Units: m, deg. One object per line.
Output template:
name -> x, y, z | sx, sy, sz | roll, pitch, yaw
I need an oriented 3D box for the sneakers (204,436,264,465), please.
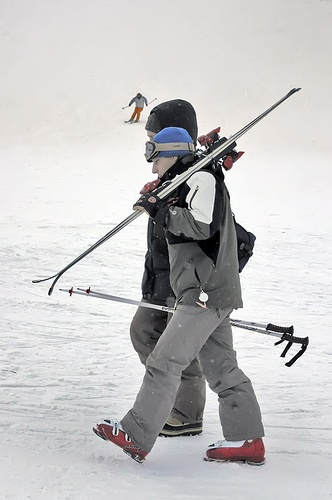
sneakers -> 0.282, 0.798, 2.354 | 0.248, 0.104, 0.091 | 2, -12, 11

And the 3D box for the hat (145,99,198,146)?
hat -> 0.045, -0.611, 2.829 | 0.274, 0.212, 0.201 | 8, 5, -16

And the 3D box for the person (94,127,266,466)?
person -> 0.109, 0.191, 2.309 | 0.684, 1.303, 0.563 | 5, 14, -5

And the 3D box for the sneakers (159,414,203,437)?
sneakers -> 0.069, 0.821, 2.749 | 0.223, 0.089, 0.084 | 5, -12, -16

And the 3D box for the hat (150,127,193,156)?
hat -> 0.031, -0.447, 2.433 | 0.157, 0.102, 0.105 | 14, 12, 5

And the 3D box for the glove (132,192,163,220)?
glove -> -0.056, -0.169, 2.195 | 0.087, 0.112, 0.046 | 33, -28, 32
